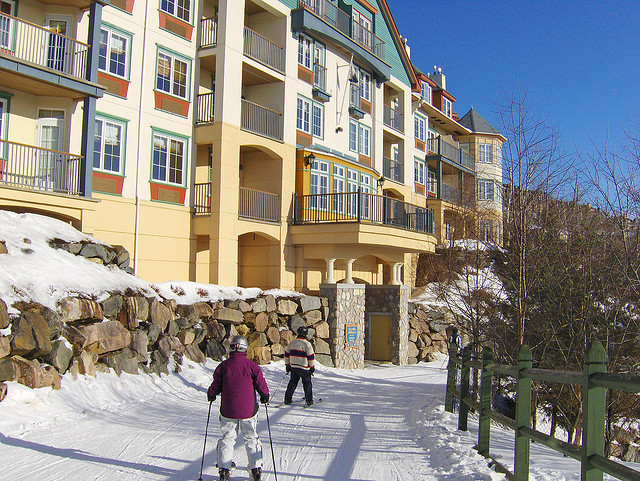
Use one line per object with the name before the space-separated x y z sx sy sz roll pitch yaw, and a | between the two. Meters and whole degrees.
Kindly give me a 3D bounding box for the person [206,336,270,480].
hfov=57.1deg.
person | -1.409 2.857 10.173 0.993 2.396 0.402 3 -7 -6
